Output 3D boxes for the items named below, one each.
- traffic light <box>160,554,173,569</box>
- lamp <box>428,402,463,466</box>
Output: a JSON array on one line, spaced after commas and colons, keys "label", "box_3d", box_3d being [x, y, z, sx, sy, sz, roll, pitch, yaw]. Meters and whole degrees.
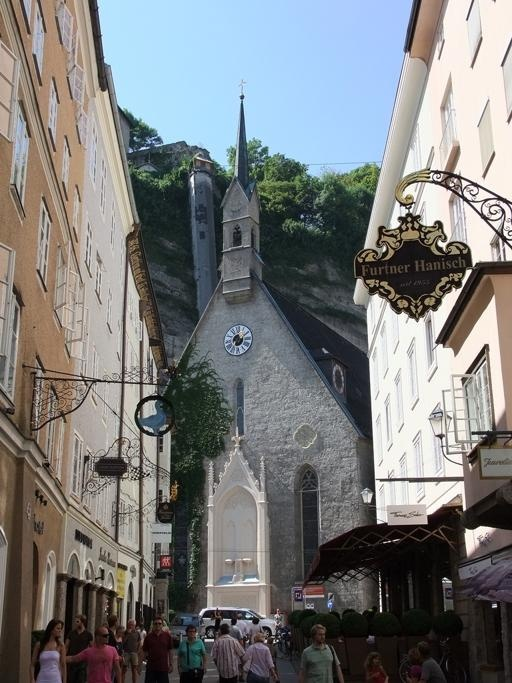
[{"label": "traffic light", "box_3d": [-4.931, 11.912, 43.110, 0.656, 0.781, 0.706, -6, -14, 26]}, {"label": "lamp", "box_3d": [3.631, 1.703, 15.061, 0.310, 1.210, 0.552, 16, -25, -40]}]
